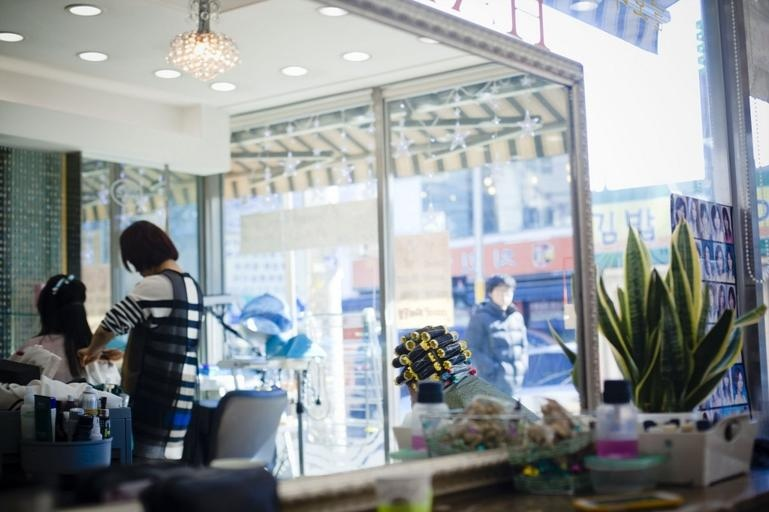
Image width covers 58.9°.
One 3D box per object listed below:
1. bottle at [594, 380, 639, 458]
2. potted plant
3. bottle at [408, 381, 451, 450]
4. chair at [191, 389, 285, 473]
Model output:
[{"bbox_3d":[0.624,0.469,1.822,0.124,0.189,0.124,7,-27,4],"label":"bottle"},{"bbox_3d":[0.949,0.183,2.225,0.405,0.620,0.375,0,-7,-28],"label":"potted plant"},{"bbox_3d":[0.119,0.424,1.806,0.102,0.185,0.065,-3,-6,3],"label":"bottle"},{"bbox_3d":[-0.491,0.554,2.274,0.297,0.332,0.249,0,-8,31],"label":"chair"}]
